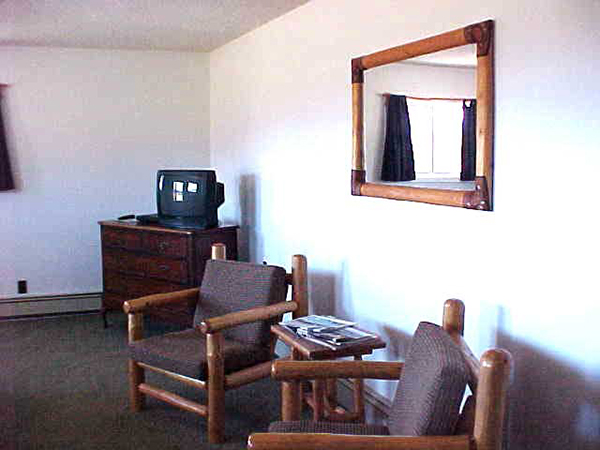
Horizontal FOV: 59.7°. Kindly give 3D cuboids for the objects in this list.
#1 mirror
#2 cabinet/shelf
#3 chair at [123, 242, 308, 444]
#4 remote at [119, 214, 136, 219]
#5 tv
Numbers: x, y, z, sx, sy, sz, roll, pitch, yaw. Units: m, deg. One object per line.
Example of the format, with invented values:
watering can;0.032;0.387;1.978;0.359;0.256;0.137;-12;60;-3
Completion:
mirror;0.626;-0.553;2.874;0.103;0.890;1.078;-10;12;-30
cabinet/shelf;-1.265;0.476;4.856;1.257;0.981;0.513;5;7;33
chair;-0.480;0.682;3.610;1.052;1.187;1.195;3;3;39
remote;-1.661;-0.071;5.027;0.148;0.044;0.106;0;1;-13
tv;-0.990;-0.217;4.710;0.734;0.570;0.486;2;4;30
